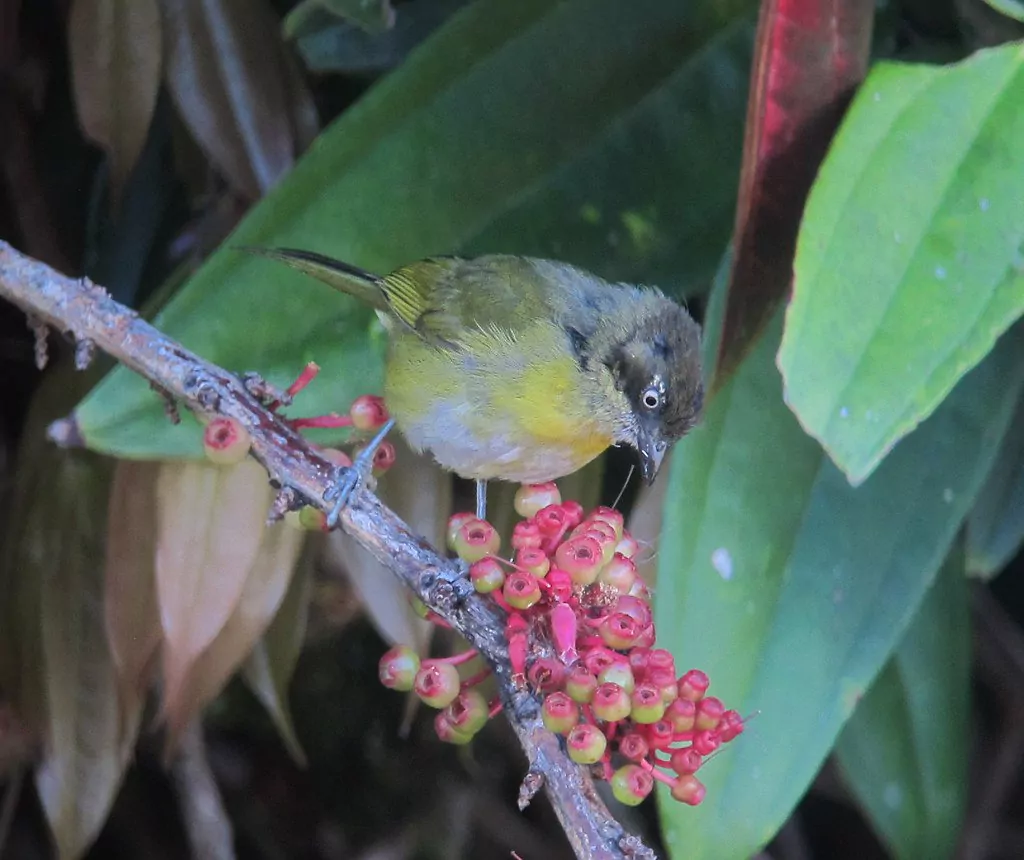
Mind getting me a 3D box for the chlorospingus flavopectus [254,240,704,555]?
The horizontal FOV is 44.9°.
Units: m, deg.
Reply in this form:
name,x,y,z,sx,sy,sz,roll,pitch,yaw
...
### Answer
name,x,y,z,sx,sy,sz,roll,pitch,yaw
chlorospingus flavopectus,-0.054,-0.147,2.283,0.725,0.420,0.558,31,78,7
